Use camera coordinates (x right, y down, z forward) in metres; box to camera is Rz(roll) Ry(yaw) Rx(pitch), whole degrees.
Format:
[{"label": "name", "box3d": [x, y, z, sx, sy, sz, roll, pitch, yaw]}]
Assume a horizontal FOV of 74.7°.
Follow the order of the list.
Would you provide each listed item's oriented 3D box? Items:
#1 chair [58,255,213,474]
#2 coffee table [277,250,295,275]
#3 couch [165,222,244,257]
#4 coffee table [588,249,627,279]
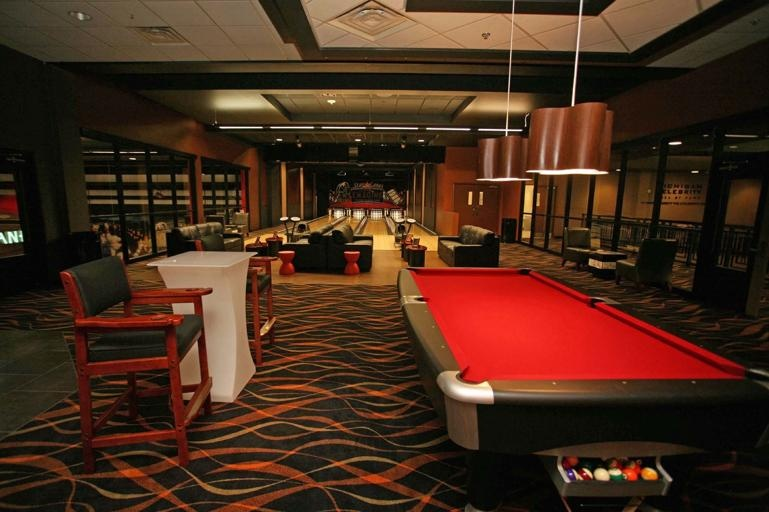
[{"label": "chair", "box3d": [-2.909, 1.038, 5.605, 2.451, 2.102, 1.408, 1, 24, -3]}, {"label": "coffee table", "box3d": [-1.960, 0.136, 10.076, 0.315, 0.472, 0.454, 0, 10, -9]}, {"label": "couch", "box3d": [-4.006, -0.343, 11.433, 0.982, 0.564, 1.730, 15, 12, 9]}, {"label": "coffee table", "box3d": [4.476, 0.171, 10.252, 0.873, 0.453, 0.683, 0, 5, -4]}]
